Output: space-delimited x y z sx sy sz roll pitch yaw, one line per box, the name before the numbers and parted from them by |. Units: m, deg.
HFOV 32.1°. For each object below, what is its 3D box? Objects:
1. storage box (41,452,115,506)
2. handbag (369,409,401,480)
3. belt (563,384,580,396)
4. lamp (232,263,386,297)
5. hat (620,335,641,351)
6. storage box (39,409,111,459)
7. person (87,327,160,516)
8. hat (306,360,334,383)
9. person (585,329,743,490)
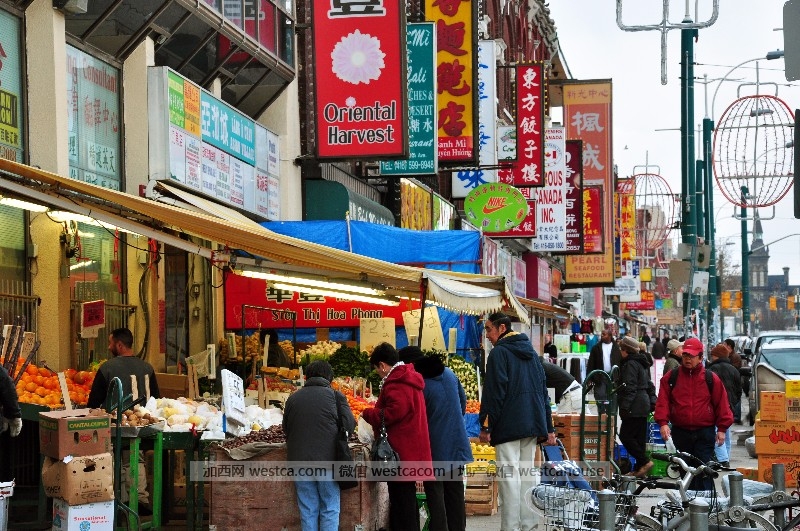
storage box | -4.479 2.974 19.379 0.933 0.683 0.361 0 -10 -11
handbag | -0.228 2.595 19.943 0.414 0.914 0.313 2 -11 -22
belt | 3.168 2.257 25.377 0.397 0.226 0.214 9 -15 -44
lamp | -1.599 0.317 24.632 2.330 0.131 0.399 7 7 13
hat | 4.163 1.414 25.267 0.247 0.123 0.299 18 -8 44
storage box | -4.562 2.361 19.445 0.964 0.667 0.414 -1 -10 -8
person | -4.349 2.360 21.404 1.041 2.821 1.158 1 -5 -2
hat | -1.175 1.534 20.201 0.252 0.353 0.341 0 0 9
person | 4.801 2.309 22.705 0.901 2.514 1.236 -1 -3 19
